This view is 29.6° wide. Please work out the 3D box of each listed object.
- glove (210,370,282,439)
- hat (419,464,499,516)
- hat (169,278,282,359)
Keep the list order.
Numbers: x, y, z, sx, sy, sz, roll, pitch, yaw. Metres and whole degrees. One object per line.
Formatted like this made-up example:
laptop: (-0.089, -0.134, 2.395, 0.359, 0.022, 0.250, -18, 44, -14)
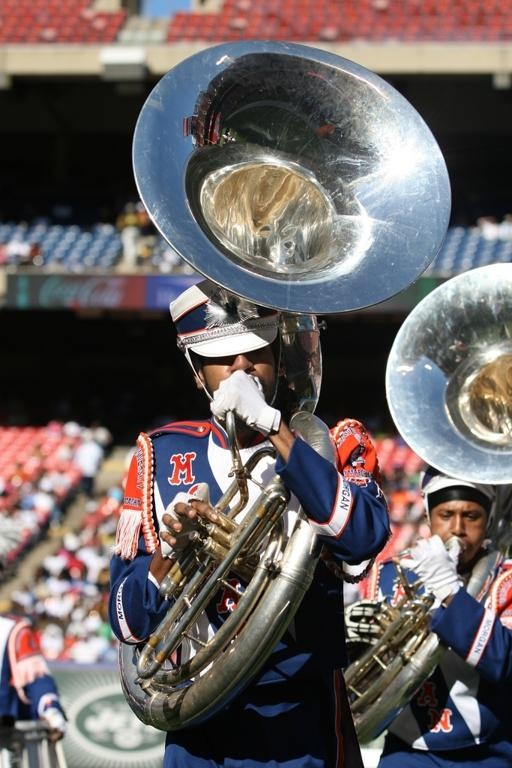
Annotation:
glove: (-0.028, 0.057, 2.180, 0.163, 0.067, 0.123, 40, 54, -4)
hat: (0.612, 0.332, 3.119, 0.285, 0.126, 0.247, 2, 5, 33)
hat: (-0.085, -0.154, 2.290, 0.232, 0.198, 0.153, 5, 8, 12)
